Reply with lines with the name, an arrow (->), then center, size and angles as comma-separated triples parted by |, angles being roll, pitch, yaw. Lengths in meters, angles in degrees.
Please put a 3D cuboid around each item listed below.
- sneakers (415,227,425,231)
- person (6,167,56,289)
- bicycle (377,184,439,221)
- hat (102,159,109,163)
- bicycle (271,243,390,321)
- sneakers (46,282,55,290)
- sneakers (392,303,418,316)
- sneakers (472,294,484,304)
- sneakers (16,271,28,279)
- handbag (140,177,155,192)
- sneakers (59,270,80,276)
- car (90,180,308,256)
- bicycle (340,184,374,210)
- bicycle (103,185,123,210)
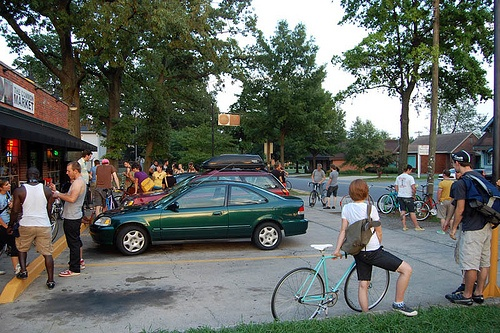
sneakers -> 6.046, 2.216, 13.563 | 0.364, 0.150, 0.136 | -2, 7, -10
person -> -4.774, 1.336, 8.407 | 0.981, 2.657, 0.592 | -1, -2, 12
bicycle -> 6.659, 1.565, 16.351 | 2.602, 1.518, 1.292 | -2, -4, 32
hat -> -5.580, -0.219, 14.661 | 0.245, 0.116, 0.346 | -1, 2, -14
bicycle -> 1.581, 2.160, 7.176 | 2.518, 1.432, 1.202 | -1, 1, -23
sneakers -> -4.363, 2.581, 8.352 | 0.152, 0.177, 0.252 | 1, -3, -28
sneakers -> 2.808, 2.610, 7.010 | 0.441, 0.179, 0.182 | 7, -4, 4
sneakers -> 4.485, 2.619, 7.578 | 0.102, 0.113, 0.279 | -3, 5, -5
sneakers -> -4.994, 2.350, 8.340 | 0.275, 0.197, 0.140 | -1, -2, 3
handbag -> -4.248, 0.747, 15.673 | 0.272, 0.501, 0.364 | 1, -45, 29
sneakers -> -4.272, 2.535, 9.054 | 0.436, 0.176, 0.159 | 9, -7, -18
car -> -1.418, 1.735, 11.684 | 6.000, 1.992, 2.331 | 3, -6, -10
bicycle -> 5.106, 1.457, 17.843 | 1.736, 1.093, 1.132 | 2, 3, 2
bicycle -> -5.614, 1.270, 15.550 | 1.047, 1.020, 0.821 | 4, 3, -11
